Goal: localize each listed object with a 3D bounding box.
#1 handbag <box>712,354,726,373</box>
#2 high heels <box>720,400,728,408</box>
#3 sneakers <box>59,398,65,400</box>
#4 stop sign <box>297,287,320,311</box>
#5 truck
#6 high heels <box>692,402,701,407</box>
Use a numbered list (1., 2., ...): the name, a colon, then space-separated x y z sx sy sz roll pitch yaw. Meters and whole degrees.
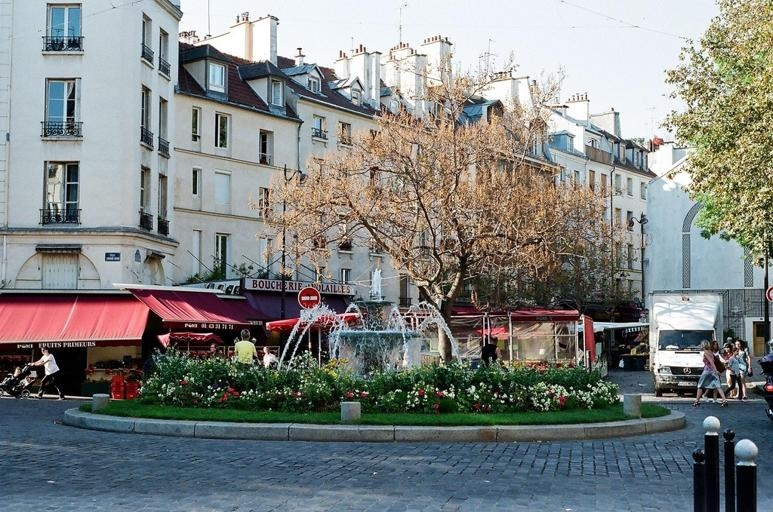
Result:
1. handbag: 11.849 3.852 39.347 0.319 0.855 0.647 -20 7 20
2. high heels: 11.497 5.075 37.551 0.211 0.109 0.244 5 18 15
3. sneakers: -12.037 5.304 40.781 0.119 0.055 0.189 0 -1 -3
4. stop sign: -2.721 1.524 38.889 0.606 0.902 1.277 1 6 3
5. truck: 11.565 3.041 42.912 2.102 2.641 5.022 -1 -6 14
6. high heels: 10.639 5.110 37.777 0.164 0.198 0.494 -9 -16 35
